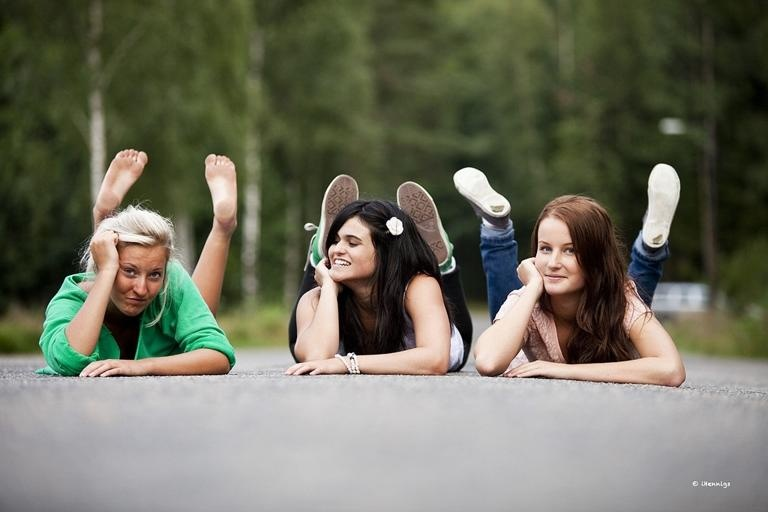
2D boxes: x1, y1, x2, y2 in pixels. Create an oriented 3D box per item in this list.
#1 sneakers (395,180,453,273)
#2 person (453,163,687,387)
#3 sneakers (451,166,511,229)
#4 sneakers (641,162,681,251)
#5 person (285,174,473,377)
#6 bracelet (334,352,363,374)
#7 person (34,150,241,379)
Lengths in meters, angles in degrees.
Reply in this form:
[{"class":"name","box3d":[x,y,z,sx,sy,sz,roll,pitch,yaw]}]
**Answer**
[{"class":"sneakers","box3d":[0.267,-0.225,6.703,0.250,0.729,0.276,-27,-6,18]},{"class":"person","box3d":[1.160,0.227,6.308,1.072,1.197,1.487,-2,-12,12]},{"class":"sneakers","box3d":[0.635,-0.381,6.677,0.249,0.495,0.174,-38,7,-3]},{"class":"sneakers","box3d":[1.690,-0.312,6.182,0.186,0.571,0.214,10,15,21]},{"class":"person","box3d":[0.020,0.211,6.261,0.903,1.187,1.809,-1,1,22]},{"class":"bracelet","box3d":[-0.204,0.602,5.598,0.140,0.094,0.097,-1,5,-4]},{"class":"person","box3d":[-1.403,0.016,5.843,1.109,1.274,1.375,1,5,11]}]
